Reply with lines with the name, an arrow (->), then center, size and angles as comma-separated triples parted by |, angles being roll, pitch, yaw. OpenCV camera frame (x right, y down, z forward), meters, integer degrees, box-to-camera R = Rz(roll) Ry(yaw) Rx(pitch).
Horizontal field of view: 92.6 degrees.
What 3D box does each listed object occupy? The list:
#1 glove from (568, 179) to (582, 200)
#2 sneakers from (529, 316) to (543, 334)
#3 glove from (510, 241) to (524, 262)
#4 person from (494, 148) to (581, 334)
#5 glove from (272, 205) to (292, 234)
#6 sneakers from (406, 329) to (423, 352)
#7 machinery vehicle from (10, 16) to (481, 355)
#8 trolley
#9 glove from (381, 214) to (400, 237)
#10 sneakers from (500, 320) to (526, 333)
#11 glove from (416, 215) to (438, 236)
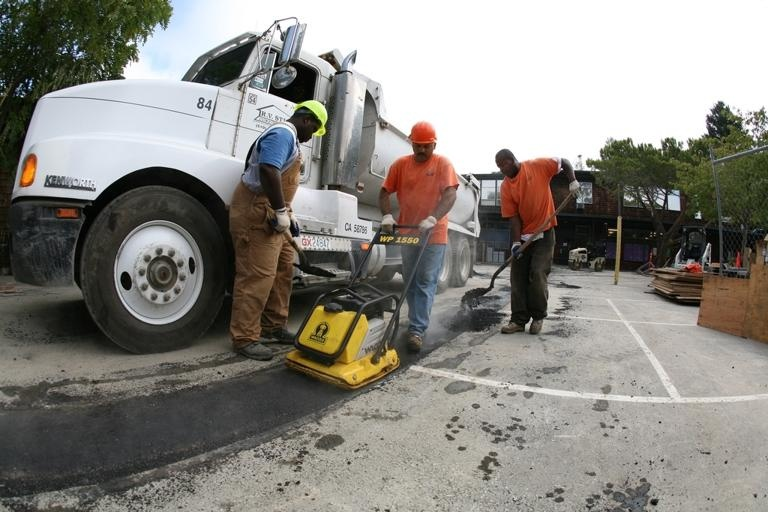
glove -> 2.485, -0.864, 4.800 | 0.195, 0.288, 0.092 | -21, 18, -34
sneakers -> 2.093, 0.877, 5.012 | 0.096, 0.139, 0.310 | 4, 10, 33
glove -> 1.840, -0.121, 5.010 | 0.066, 0.246, 0.234 | 13, 4, 29
person -> 2.043, -0.231, 5.095 | 0.990, 2.414, 0.994 | 5, 8, 25
glove -> -1.050, -0.402, 3.752 | 0.170, 0.236, 0.084 | -3, 5, -40
sneakers -> 0.348, 0.912, 4.136 | 0.097, 0.140, 0.296 | 0, -16, 14
machinery vehicle -> -1.417, -0.571, 6.630 | 2.574, 3.684, 7.232 | -1, -10, 44
trolley -> -0.199, 0.346, 3.889 | 0.844, 1.397, 1.609 | 7, 9, 31
glove -> 0.044, -0.381, 4.207 | 0.175, 0.252, 0.100 | 1, 1, -44
sneakers -> 1.777, 0.902, 5.041 | 0.363, 0.169, 0.138 | 7, -8, -26
glove -> 0.486, -0.370, 4.025 | 0.095, 0.160, 0.211 | 27, 4, -7
